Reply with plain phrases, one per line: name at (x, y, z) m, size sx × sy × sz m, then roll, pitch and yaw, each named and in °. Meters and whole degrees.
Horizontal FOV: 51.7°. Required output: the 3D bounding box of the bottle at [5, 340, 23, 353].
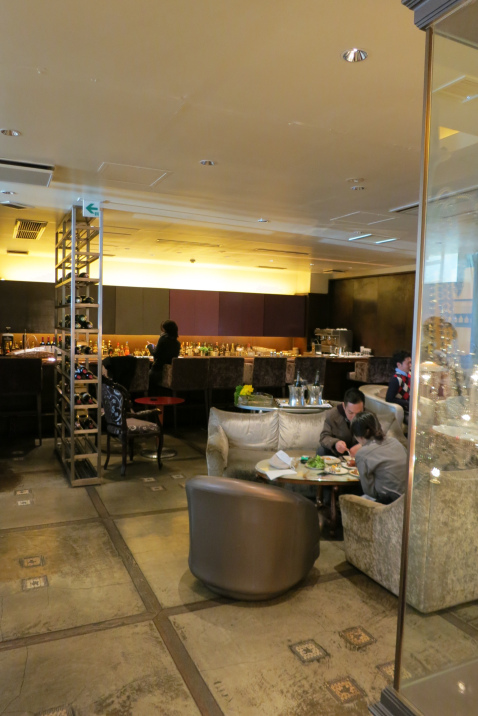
bottle at (-4.060, -0.189, 8.813) m, size 0.126 × 0.236 × 0.240 m, roll 0°, pitch -2°, yaw 18°

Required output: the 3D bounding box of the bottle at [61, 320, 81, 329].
bottle at (-1.849, -0.384, 5.278) m, size 0.112 × 0.111 × 0.924 m, roll -14°, pitch 11°, yaw -27°

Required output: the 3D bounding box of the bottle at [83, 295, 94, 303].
bottle at (-1.549, -0.594, 5.049) m, size 0.090 × 0.072 × 0.105 m, roll 0°, pitch 3°, yaw 3°

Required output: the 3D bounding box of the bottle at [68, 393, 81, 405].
bottle at (-1.716, 0.443, 5.165) m, size 0.151 × 0.112 × 0.160 m, roll 0°, pitch 4°, yaw 0°

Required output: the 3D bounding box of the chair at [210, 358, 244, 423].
chair at (-0.249, 0.412, 8.023) m, size 0.717 × 1.047 × 0.698 m, roll 0°, pitch 8°, yaw -13°

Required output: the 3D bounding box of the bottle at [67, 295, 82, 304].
bottle at (-1.714, -0.596, 5.100) m, size 0.121 × 0.126 × 0.330 m, roll 1°, pitch 5°, yaw -15°

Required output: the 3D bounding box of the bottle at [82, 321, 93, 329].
bottle at (-1.543, -0.332, 5.012) m, size 0.100 × 0.057 × 0.039 m, roll 28°, pitch 39°, yaw -2°

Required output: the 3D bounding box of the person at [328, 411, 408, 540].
person at (0.984, 0.808, 3.498) m, size 0.358 × 0.828 × 0.478 m, roll -17°, pitch 13°, yaw -23°

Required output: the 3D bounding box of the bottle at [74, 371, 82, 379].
bottle at (-1.640, 0.177, 5.004) m, size 0.069 × 0.088 × 0.156 m, roll 1°, pitch 2°, yaw -15°

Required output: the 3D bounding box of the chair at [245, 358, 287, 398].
chair at (0.476, 0.312, 8.703) m, size 0.646 × 0.949 × 0.679 m, roll 0°, pitch 9°, yaw -8°

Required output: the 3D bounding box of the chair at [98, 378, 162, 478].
chair at (-1.316, 0.744, 6.037) m, size 0.726 × 1.042 × 1.484 m, roll 1°, pitch 2°, yaw -11°

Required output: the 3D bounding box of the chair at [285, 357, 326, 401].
chair at (1.332, 0.381, 9.043) m, size 0.532 × 0.576 × 0.782 m, roll -2°, pitch -3°, yaw 40°

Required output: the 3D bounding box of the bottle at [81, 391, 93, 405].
bottle at (-1.559, 0.427, 5.056) m, size 0.119 × 0.089 × 0.126 m, roll 1°, pitch 2°, yaw 0°

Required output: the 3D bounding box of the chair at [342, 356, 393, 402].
chair at (2.661, 0.356, 9.762) m, size 0.774 × 1.081 × 0.846 m, roll -3°, pitch 10°, yaw -24°

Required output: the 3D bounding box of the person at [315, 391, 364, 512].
person at (0.971, 0.772, 4.387) m, size 0.504 × 0.986 × 0.601 m, roll 7°, pitch 14°, yaw 22°
